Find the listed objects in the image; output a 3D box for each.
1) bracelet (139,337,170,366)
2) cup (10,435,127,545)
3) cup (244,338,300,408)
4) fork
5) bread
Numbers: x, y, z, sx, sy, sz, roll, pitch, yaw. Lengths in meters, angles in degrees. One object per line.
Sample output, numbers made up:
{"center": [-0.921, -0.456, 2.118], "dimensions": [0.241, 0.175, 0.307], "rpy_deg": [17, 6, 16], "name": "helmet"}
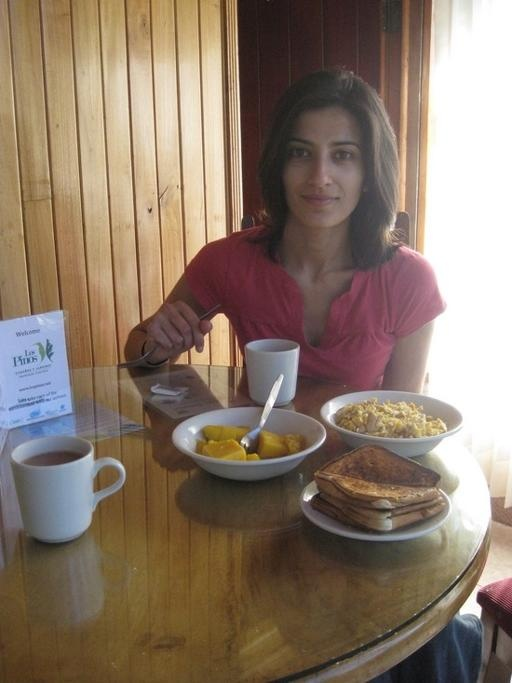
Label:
{"center": [-0.232, 0.023, 1.244], "dimensions": [0.050, 0.054, 0.062], "rpy_deg": [-2, 9, -33], "name": "bracelet"}
{"center": [-0.208, 0.147, 0.597], "dimensions": [0.130, 0.111, 0.101], "rpy_deg": [-1, 2, -24], "name": "cup"}
{"center": [0.028, 0.061, 1.048], "dimensions": [0.103, 0.125, 0.121], "rpy_deg": [0, 4, 9], "name": "cup"}
{"center": [0.008, 0.106, 0.857], "dimensions": [0.031, 0.022, 0.162], "rpy_deg": [14, 48, 7], "name": "fork"}
{"center": [0.133, 0.155, 0.619], "dimensions": [0.084, 0.032, 0.084], "rpy_deg": [9, 15, 43], "name": "bread"}
